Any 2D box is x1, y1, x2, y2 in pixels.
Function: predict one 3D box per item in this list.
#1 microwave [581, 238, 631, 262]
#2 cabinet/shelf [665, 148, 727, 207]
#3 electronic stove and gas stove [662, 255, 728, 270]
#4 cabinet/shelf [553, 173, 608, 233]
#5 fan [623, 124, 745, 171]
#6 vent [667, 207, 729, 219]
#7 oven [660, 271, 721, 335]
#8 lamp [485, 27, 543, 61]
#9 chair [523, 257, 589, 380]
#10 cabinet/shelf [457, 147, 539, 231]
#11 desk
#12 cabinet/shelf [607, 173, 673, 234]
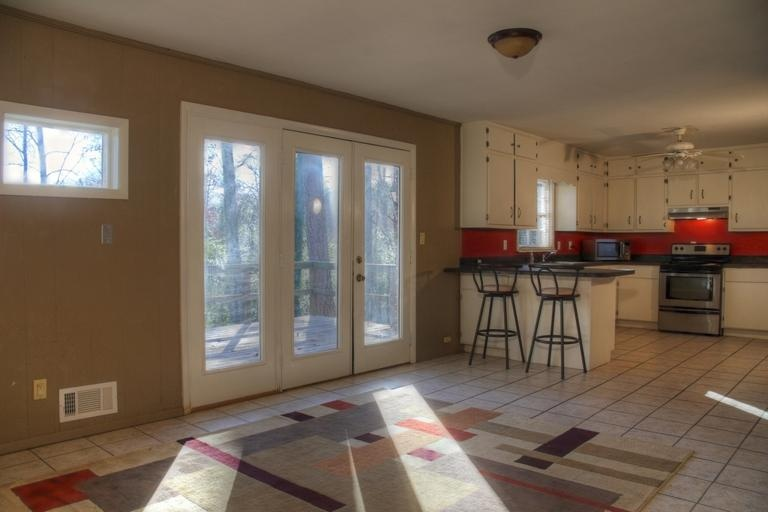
[{"bbox_3d":[4.012,-0.101,9.371,0.721,0.397,0.462,0,0,-22],"label":"microwave"},{"bbox_3d":[5.261,-1.250,8.847,0.369,0.886,0.996,4,0,-31],"label":"cabinet/shelf"},{"bbox_3d":[5.136,0.105,8.586,0.989,0.199,1.072,5,9,32],"label":"electronic stove and gas stove"},{"bbox_3d":[3.474,-0.943,9.147,0.438,1.030,1.266,4,7,44],"label":"cabinet/shelf"},{"bbox_3d":[4.278,-1.540,7.539,1.484,0.509,1.163,-3,8,-12],"label":"fan"},{"bbox_3d":[5.311,-0.712,8.753,0.860,0.257,0.431,5,9,32],"label":"vent"},{"bbox_3d":[5.084,0.756,8.521,1.029,1.240,0.986,-1,-2,36],"label":"oven"},{"bbox_3d":[1.169,-1.882,4.610,0.481,0.198,0.243,1,8,6],"label":"lamp"},{"bbox_3d":[2.058,0.750,6.247,0.700,1.248,0.967,-2,9,-12],"label":"chair"},{"bbox_3d":[1.679,-0.923,7.615,0.576,0.997,1.628,2,4,41],"label":"cabinet/shelf"},{"bbox_3d":[2.097,0.581,6.882,2.314,1.147,0.867,-13,-5,10],"label":"desk"},{"bbox_3d":[4.576,-0.931,9.138,1.222,1.052,0.436,0,0,42],"label":"cabinet/shelf"}]
